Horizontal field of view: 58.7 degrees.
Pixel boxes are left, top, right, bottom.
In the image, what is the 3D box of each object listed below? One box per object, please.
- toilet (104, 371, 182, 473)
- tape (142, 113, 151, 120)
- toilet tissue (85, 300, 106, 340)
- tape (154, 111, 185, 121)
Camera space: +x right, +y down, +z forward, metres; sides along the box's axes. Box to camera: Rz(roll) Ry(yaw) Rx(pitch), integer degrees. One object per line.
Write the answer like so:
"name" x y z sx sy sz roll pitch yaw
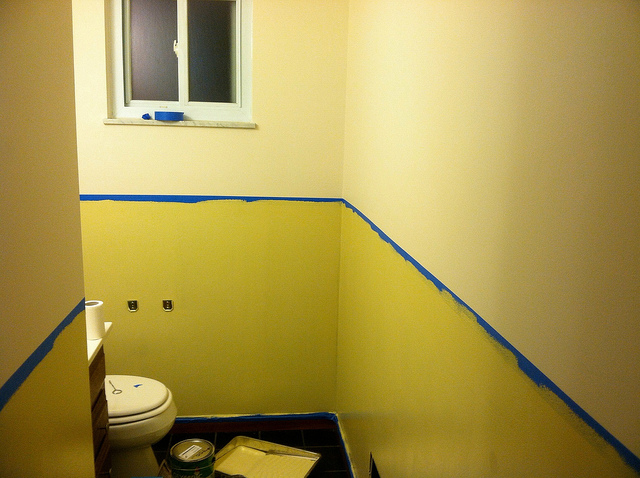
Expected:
"toilet" -0.794 0.796 2.625 0.415 0.357 0.464 1 3 0
"tape" -0.870 -0.615 2.846 0.036 0.027 0.034 -5 15 -20
"toilet tissue" -0.894 0.321 2.229 0.096 0.124 0.103 -1 9 -6
"tape" -0.754 -0.620 2.854 0.148 0.047 0.081 -5 15 -21
